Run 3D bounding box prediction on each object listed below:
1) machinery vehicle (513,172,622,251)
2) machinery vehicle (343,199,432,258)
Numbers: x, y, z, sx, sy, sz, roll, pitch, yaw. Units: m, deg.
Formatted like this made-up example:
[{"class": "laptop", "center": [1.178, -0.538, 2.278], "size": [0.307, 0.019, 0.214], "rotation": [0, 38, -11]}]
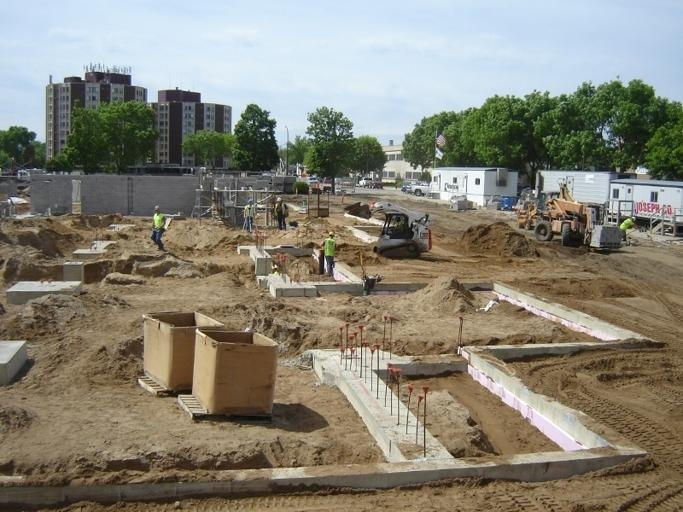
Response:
[{"class": "machinery vehicle", "center": [11.416, -1.637, 34.871], "size": [2.775, 3.583, 7.445], "rotation": [1, 9, -24]}, {"class": "machinery vehicle", "center": [1.624, -1.151, 28.188], "size": [4.103, 1.789, 4.000], "rotation": [6, 5, 3]}]
